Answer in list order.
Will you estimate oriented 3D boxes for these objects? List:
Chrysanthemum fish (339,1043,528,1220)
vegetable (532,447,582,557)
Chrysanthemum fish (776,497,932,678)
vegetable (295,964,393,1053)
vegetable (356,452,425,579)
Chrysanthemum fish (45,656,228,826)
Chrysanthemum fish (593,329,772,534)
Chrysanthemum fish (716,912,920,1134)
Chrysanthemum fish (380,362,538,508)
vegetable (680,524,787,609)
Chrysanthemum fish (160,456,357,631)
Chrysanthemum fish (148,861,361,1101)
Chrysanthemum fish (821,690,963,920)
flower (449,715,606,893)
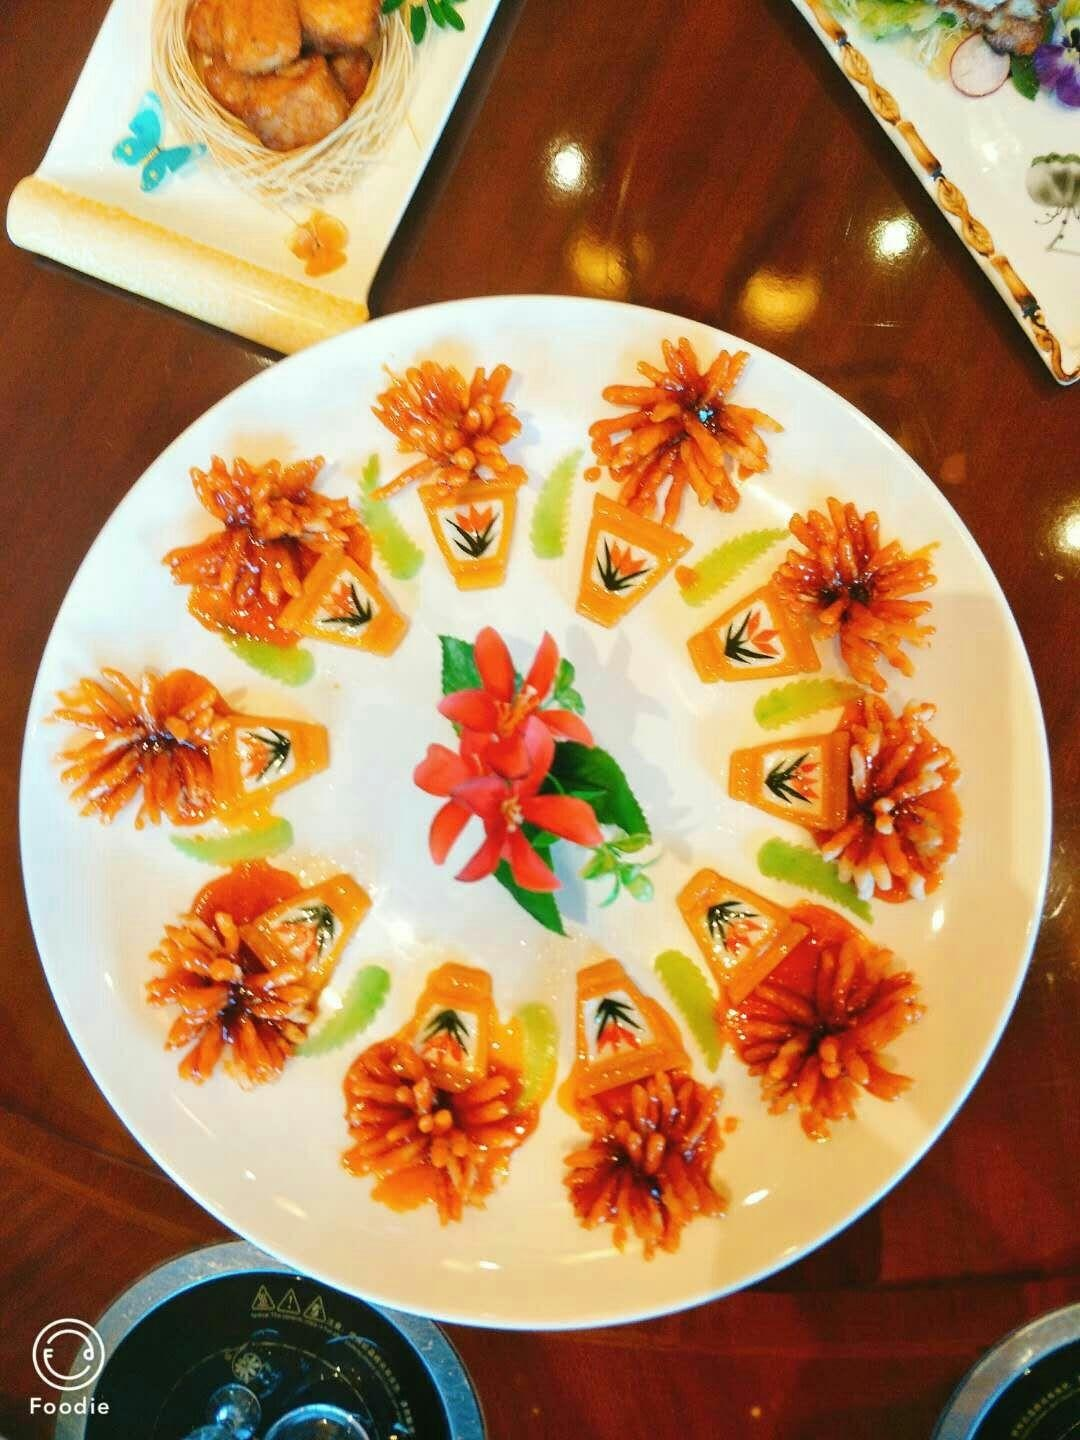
[{"bbox_3d":[-0.088,0.331,1.116,0.159,0.069,0.128,13,84,3],"label":"Chrysanthemum fish"},{"bbox_3d":[0.014,-0.184,1.180,0.035,0.010,0.093,17,94,-5],"label":"vegetable"},{"bbox_3d":[0.279,-0.117,1.178,0.135,0.057,0.140,-33,88,22],"label":"Chrysanthemum fish"},{"bbox_3d":[-0.166,0.252,1.201,0.041,0.010,0.109,42,81,5],"label":"vegetable"},{"bbox_3d":[-0.127,-0.168,1.185,0.043,0.017,0.116,-20,102,-8],"label":"vegetable"},{"bbox_3d":[-0.327,0.016,1.143,0.136,0.046,0.129,-7,91,-6],"label":"Chrysanthemum fish"},{"bbox_3d":[0.119,-0.231,1.139,0.146,0.085,0.135,-38,84,-3],"label":"Chrysanthemum fish"},{"bbox_3d":[0.230,0.243,1.111,0.140,0.081,0.166,32,85,5],"label":"Chrysanthemum fish"},{"bbox_3d":[-0.076,-0.242,1.144,0.122,0.077,0.100,0,84,1],"label":"Chrysanthemum fish"},{"bbox_3d":[0.156,-0.129,1.173,0.121,0.013,0.040,-28,86,9],"label":"vegetable"},{"bbox_3d":[-0.230,-0.144,1.142,0.153,0.053,0.145,32,94,-8],"label":"Chrysanthemum fish"},{"bbox_3d":[-0.229,0.203,1.097,0.190,0.075,0.144,-39,90,-19],"label":"Chrysanthemum fish"},{"bbox_3d":[0.276,0.065,1.109,0.127,0.068,0.152,-17,79,23],"label":"Chrysanthemum fish"},{"bbox_3d":[-0.021,0.056,0.959,0.117,0.121,0.121,-5,84,1],"label":"flower"}]
